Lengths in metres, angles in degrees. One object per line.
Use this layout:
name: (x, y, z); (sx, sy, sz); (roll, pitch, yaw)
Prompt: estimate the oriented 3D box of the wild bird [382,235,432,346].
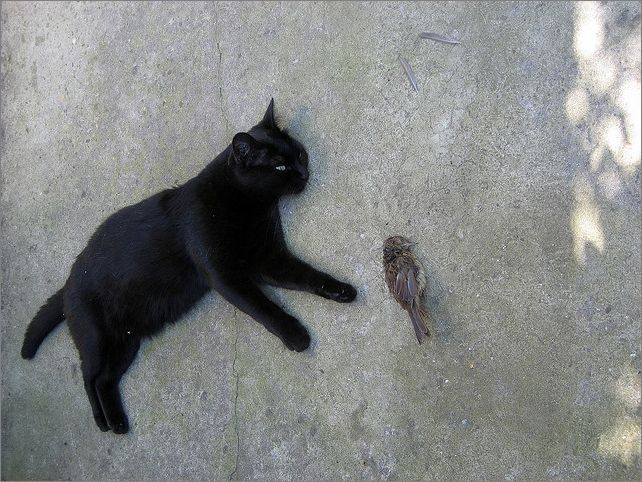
wild bird: (0.519, 0.253, 5.465); (0.234, 0.248, 0.775); (5, 62, -24)
